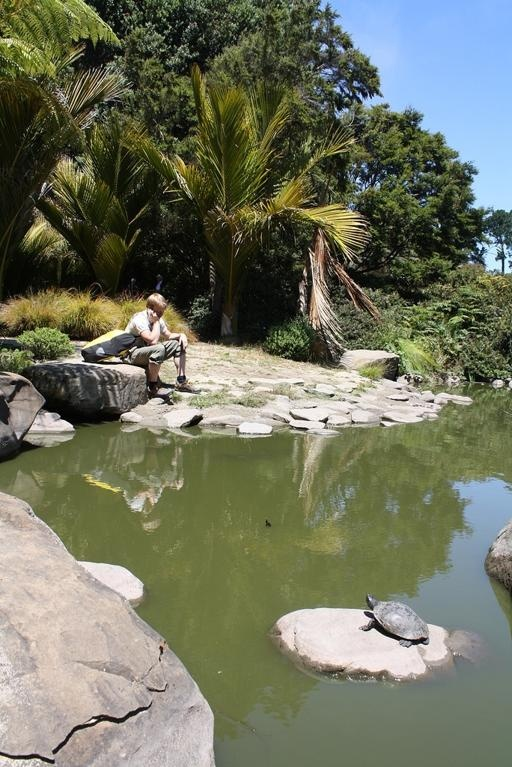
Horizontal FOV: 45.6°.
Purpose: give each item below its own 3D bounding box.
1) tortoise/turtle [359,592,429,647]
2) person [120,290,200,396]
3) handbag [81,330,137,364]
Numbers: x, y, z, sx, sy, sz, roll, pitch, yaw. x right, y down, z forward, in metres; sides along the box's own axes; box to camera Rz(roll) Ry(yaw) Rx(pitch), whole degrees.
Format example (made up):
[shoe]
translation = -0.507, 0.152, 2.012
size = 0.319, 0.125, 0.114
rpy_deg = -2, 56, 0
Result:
[tortoise/turtle]
translation = 0.622, 1.070, 2.748
size = 0.319, 0.110, 0.183
rpy_deg = 7, 8, 31
[person]
translation = -1.220, -0.519, 7.710
size = 0.738, 1.456, 0.724
rpy_deg = 1, 1, 34
[handbag]
translation = -1.833, -0.475, 7.651
size = 0.409, 0.212, 0.567
rpy_deg = -19, 10, 22
